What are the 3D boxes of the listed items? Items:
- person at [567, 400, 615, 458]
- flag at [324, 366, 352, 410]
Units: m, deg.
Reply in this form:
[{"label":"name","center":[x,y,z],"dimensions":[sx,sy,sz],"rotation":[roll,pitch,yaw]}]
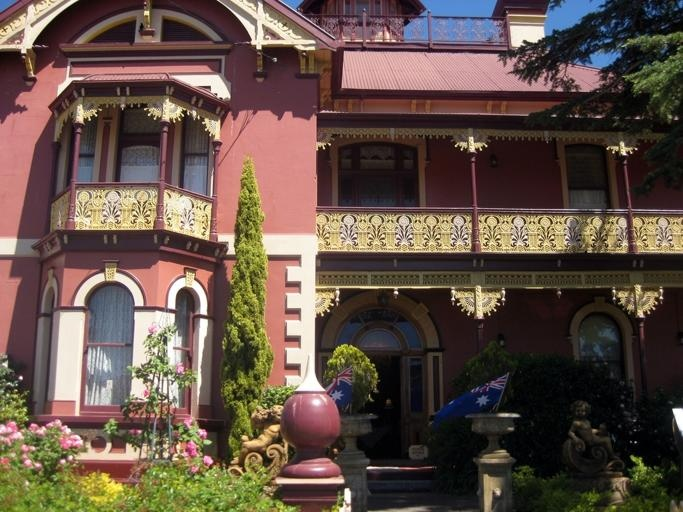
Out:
[{"label":"person","center":[5.032,3.494,16.386],"dimensions":[0.894,1.304,0.682],"rotation":[-9,-19,26]},{"label":"flag","center":[-0.030,2.687,16.668],"dimensions":[0.483,0.807,0.429],"rotation":[-1,-12,8]}]
